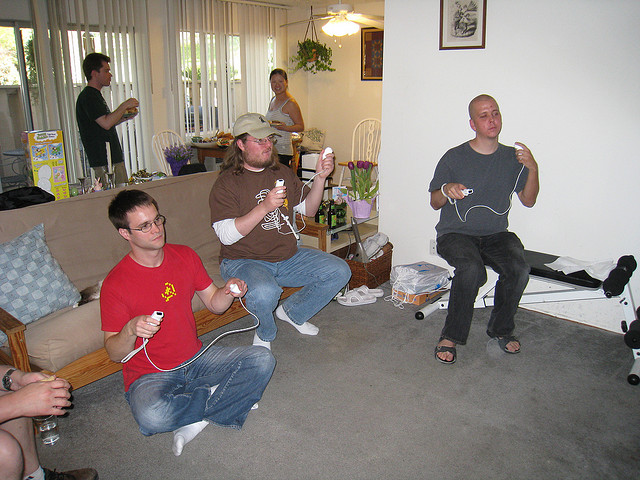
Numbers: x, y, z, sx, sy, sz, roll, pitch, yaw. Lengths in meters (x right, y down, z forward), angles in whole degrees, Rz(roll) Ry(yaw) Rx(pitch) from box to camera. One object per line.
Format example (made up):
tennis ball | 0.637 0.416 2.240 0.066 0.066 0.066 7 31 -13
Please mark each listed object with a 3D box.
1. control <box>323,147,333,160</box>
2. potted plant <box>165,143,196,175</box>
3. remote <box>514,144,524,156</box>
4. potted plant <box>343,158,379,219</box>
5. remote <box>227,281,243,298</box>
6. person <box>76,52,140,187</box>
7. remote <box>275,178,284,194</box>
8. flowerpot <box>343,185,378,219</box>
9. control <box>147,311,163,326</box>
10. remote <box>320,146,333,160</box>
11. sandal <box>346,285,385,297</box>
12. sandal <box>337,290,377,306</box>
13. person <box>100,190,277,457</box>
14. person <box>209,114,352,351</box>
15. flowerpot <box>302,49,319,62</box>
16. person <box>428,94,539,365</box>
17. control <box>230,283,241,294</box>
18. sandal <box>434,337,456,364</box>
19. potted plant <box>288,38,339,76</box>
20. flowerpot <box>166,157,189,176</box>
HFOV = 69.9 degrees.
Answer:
control | 0.043 -0.569 2.955 0.052 0.074 0.141 -1 21 2
potted plant | -1.397 -0.818 4.548 0.251 0.303 0.266 3 17 -4
remote | 1.377 -0.648 3.187 0.051 0.057 0.420 6 22 20
potted plant | 0.332 -0.479 4.170 0.424 0.630 0.420 -2 11 -9
remote | -0.439 0.253 2.357 0.072 0.060 0.027 36 8 -8
person | -1.928 -1.054 4.078 0.396 1.133 0.541 -11 22 -26
remote | -0.236 -0.313 2.626 0.039 0.065 0.112 -3 21 -5
flowerpot | 0.328 -0.320 3.830 0.263 0.195 0.253 0 13 2
control | -0.725 0.333 2.035 0.060 0.060 0.089 -2 20 -2
remote | 0.035 -0.572 2.963 0.052 0.102 0.025 18 54 -7
sandal | 0.399 0.417 3.753 0.221 0.075 0.122 0 6 -11
sandal | 0.297 0.461 3.656 0.222 0.088 0.122 0 2 -12
person | -0.707 0.378 2.308 0.711 1.229 0.477 -13 23 -29
person | -0.286 -0.034 2.986 0.837 1.484 0.877 8 16 19
flowerpot | -0.157 -3.014 7.481 0.182 0.138 0.168 10 22 37
person | 1.101 -0.107 3.074 0.734 1.606 0.754 3 20 12
control | -0.438 0.254 2.345 0.041 0.049 0.011 0 4 4
sandal | 0.814 0.723 2.994 0.139 0.113 0.130 9 23 26
potted plant | -0.131 -3.102 7.751 0.705 0.581 0.666 -9 22 -20
flowerpot | -1.396 -0.744 4.561 0.222 0.225 0.224 8 11 28
